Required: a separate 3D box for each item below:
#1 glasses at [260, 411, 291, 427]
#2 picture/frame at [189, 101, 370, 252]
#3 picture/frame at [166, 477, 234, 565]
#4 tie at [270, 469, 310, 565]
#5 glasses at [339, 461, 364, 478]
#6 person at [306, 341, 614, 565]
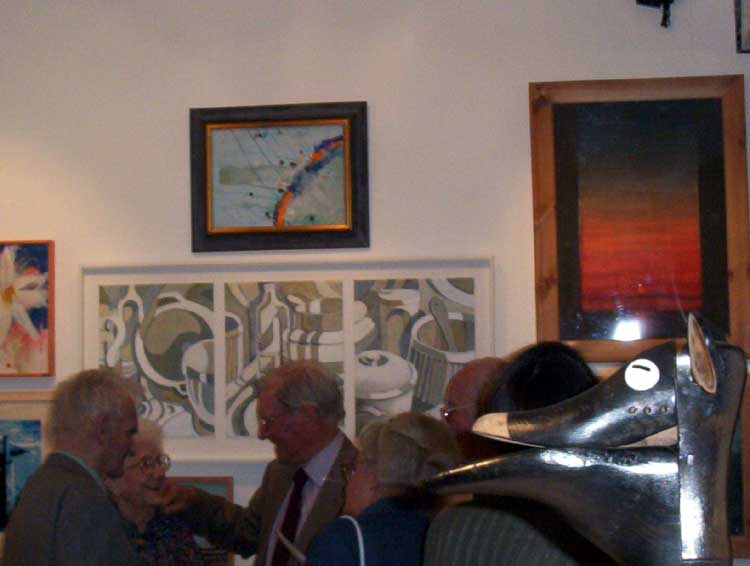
[{"bbox_3d":[-0.334,0.444,4.496,0.103,0.043,0.031,-3,-5,34],"label":"glasses"},{"bbox_3d":[-0.301,-0.359,4.634,0.497,0.427,0.039,0,-2,4],"label":"picture/frame"},{"bbox_3d":[-0.586,0.802,4.585,0.279,0.331,0.012,-2,4,3],"label":"picture/frame"},{"bbox_3d":[-0.286,0.756,4.457,0.092,0.306,0.096,-3,-5,33],"label":"tie"},{"bbox_3d":[-0.082,0.570,4.338,0.087,0.057,0.123,0,-3,-3],"label":"glasses"},{"bbox_3d":[0.273,0.462,3.928,0.712,0.611,1.131,-2,-4,16],"label":"person"}]
